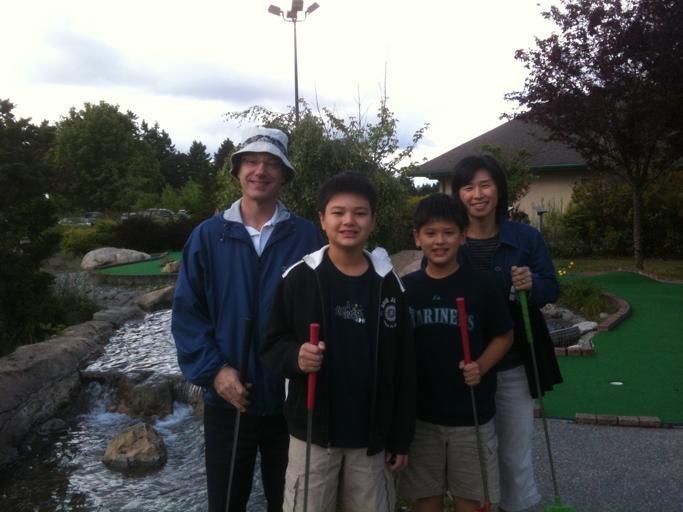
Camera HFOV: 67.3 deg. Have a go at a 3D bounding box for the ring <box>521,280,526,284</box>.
[{"bbox_3d":[1.283,0.182,3.617,0.019,0.031,0.008,0,-5,7],"label":"ring"}]

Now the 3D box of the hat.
[{"bbox_3d":[-0.560,-0.784,3.776,0.293,0.231,0.404,2,-20,-4],"label":"hat"}]
